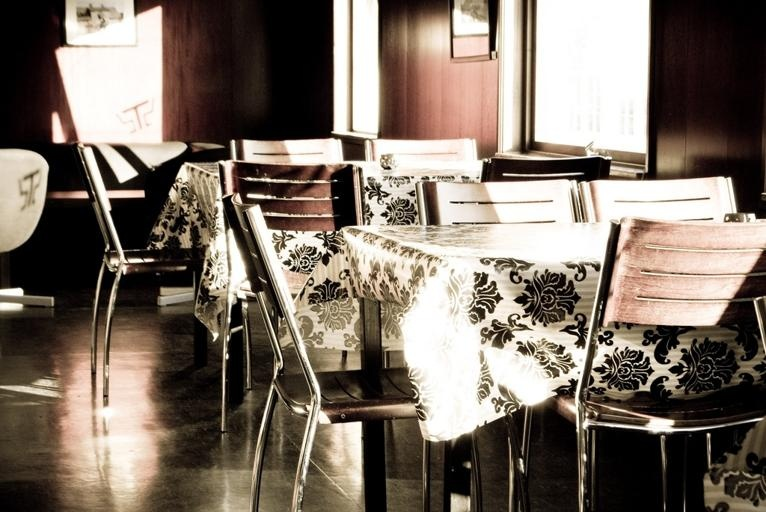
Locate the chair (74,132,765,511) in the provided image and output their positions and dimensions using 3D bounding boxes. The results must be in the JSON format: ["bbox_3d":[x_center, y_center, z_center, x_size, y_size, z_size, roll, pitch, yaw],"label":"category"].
[{"bbox_3d":[0.104,0.267,2.782,1.638,0.669,1.152,-2,12,-36],"label":"chair"}]
